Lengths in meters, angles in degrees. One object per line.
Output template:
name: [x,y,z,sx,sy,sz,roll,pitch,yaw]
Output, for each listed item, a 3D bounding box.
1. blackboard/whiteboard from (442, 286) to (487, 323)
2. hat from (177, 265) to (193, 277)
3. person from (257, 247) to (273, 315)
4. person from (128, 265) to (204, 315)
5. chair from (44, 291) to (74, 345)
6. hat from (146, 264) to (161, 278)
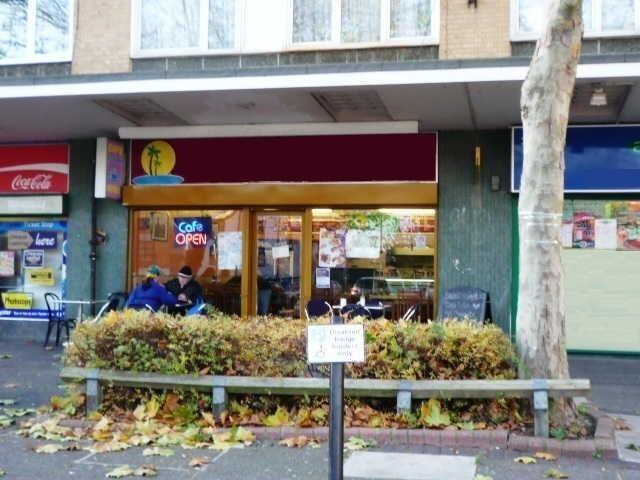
blackboard/whiteboard: [2.487,1.120,13.931,0.828,0.632,0.866,-1,-5,14]
hat: [-2.435,0.575,14.560,0.165,0.164,0.245,6,4,3]
person: [-1.084,0.786,15.434,0.288,1.604,0.080,2,30,-3]
person: [-2.530,0.906,13.109,0.877,1.015,1.303,0,-11,-7]
chair: [-4.920,1.495,15.255,0.589,0.994,0.492,2,0,13]
hat: [-2.880,0.550,13.899,0.189,0.282,0.240,3,-3,24]
